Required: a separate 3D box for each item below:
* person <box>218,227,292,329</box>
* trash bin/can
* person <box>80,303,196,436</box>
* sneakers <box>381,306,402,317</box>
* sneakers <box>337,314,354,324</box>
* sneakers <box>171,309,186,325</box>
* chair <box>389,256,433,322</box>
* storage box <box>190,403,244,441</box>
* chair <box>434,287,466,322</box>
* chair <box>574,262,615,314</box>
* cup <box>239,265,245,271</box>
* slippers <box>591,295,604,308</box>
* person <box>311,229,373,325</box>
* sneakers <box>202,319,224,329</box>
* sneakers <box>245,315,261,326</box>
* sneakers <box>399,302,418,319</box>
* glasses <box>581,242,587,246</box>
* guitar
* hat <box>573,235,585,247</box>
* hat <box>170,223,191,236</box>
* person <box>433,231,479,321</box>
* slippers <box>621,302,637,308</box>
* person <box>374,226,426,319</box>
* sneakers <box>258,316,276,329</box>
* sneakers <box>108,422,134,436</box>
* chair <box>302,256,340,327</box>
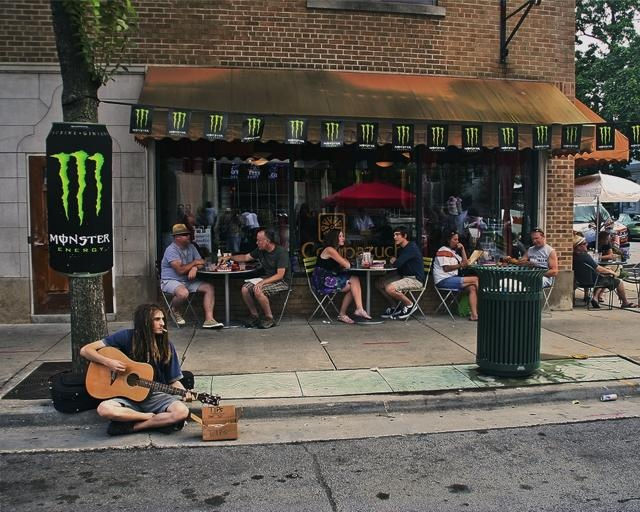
[{"bbox_3d":[-0.977,0.350,13.675,0.952,1.547,0.827,-2,3,3],"label":"person"},{"bbox_3d":[2.195,0.779,10.795,1.276,1.550,1.307,2,3,26],"label":"trash bin/can"},{"bbox_3d":[-2.010,1.245,9.268,1.049,1.413,0.372,-2,3,-10],"label":"person"},{"bbox_3d":[1.231,0.949,14.221,0.413,0.153,0.148,-4,0,0],"label":"sneakers"},{"bbox_3d":[0.442,1.044,13.881,0.127,0.091,0.238,-3,5,-44],"label":"sneakers"},{"bbox_3d":[-2.304,0.997,13.545,0.131,0.324,0.124,-33,-7,26],"label":"sneakers"},{"bbox_3d":[1.517,0.523,14.434,0.775,1.540,1.047,-4,19,5],"label":"chair"},{"bbox_3d":[-1.105,1.823,9.088,0.434,0.259,0.404,0,-2,-5],"label":"storage box"},{"bbox_3d":[2.134,0.772,14.414,0.533,0.470,0.414,4,1,-1],"label":"chair"},{"bbox_3d":[5.100,0.436,15.425,0.885,1.014,0.637,-3,3,-22],"label":"chair"},{"bbox_3d":[-1.253,0.186,13.529,0.092,0.084,0.087,1,0,0],"label":"cup"},{"bbox_3d":[5.204,0.851,15.607,0.201,0.189,0.551,-1,-3,15],"label":"slippers"},{"bbox_3d":[0.342,0.330,13.734,0.866,1.534,0.515,-3,3,-18],"label":"person"},{"bbox_3d":[-1.711,1.079,13.286,0.315,0.124,0.141,1,1,5],"label":"sneakers"},{"bbox_3d":[-1.089,1.053,13.471,0.261,0.160,0.302,-2,3,-2],"label":"sneakers"},{"bbox_3d":[1.494,0.961,14.055,0.397,0.156,0.147,-38,16,10],"label":"sneakers"},{"bbox_3d":[4.956,-0.241,15.626,0.096,0.081,0.072,12,-2,3],"label":"glasses"},{"bbox_3d":[-1.954,1.437,9.538,1.561,0.606,0.229,16,-1,-4],"label":"guitar"},{"bbox_3d":[4.763,-0.287,15.393,0.175,0.135,0.212,-21,-6,-15],"label":"hat"},{"bbox_3d":[-2.274,-0.422,13.370,0.249,0.090,0.227,-12,-5,34],"label":"hat"},{"bbox_3d":[2.282,0.329,14.101,0.724,1.482,1.103,-2,3,7],"label":"person"},{"bbox_3d":[5.719,0.888,15.354,0.303,0.074,0.105,-2,9,-9],"label":"slippers"},{"bbox_3d":[1.365,0.278,14.161,0.721,1.544,0.748,-3,3,-14],"label":"person"},{"bbox_3d":[-0.861,1.056,13.418,0.271,0.174,0.327,-2,3,0],"label":"sneakers"},{"bbox_3d":[-2.214,1.900,9.197,0.348,0.138,0.119,-2,13,-8],"label":"sneakers"},{"bbox_3d":[0.091,0.498,14.251,0.793,1.071,0.527,9,10,11],"label":"chair"}]
